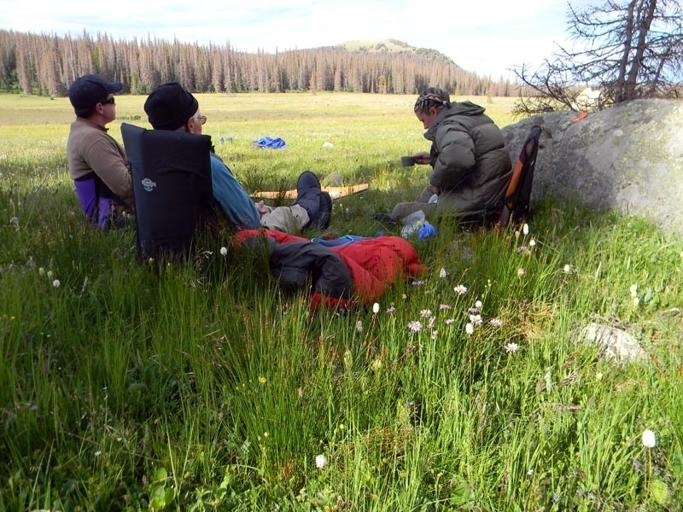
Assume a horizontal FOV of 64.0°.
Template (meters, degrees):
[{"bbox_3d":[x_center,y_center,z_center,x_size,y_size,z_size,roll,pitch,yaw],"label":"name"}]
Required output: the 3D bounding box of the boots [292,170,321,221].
[{"bbox_3d":[-0.427,-0.754,6.758,0.212,0.765,0.300,0,-24,2],"label":"boots"}]

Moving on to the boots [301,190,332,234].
[{"bbox_3d":[-0.314,-0.563,6.734,0.201,0.323,0.713,1,39,1],"label":"boots"}]

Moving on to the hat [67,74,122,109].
[{"bbox_3d":[-2.726,-1.862,6.044,0.590,0.317,0.407,-37,31,-23],"label":"hat"}]

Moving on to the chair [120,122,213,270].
[{"bbox_3d":[-1.452,-0.615,4.548,0.695,1.197,0.694,30,38,26],"label":"chair"}]

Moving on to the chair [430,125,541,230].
[{"bbox_3d":[1.731,-0.901,5.946,0.741,1.115,0.746,7,20,13],"label":"chair"}]
